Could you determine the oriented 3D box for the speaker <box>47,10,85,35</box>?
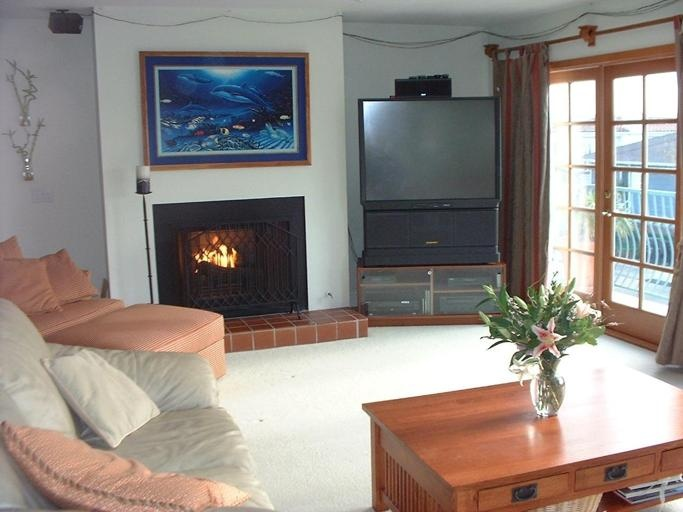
[{"bbox_3d":[-2.324,-1.970,4.622,0.254,0.189,0.086,4,38,-20],"label":"speaker"}]

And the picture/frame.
[{"bbox_3d":[-1.097,-1.325,4.822,1.218,0.849,0.042,-1,12,-9],"label":"picture/frame"}]

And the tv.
[{"bbox_3d":[0.811,-1.005,5.441,1.832,1.246,0.922,-1,9,0],"label":"tv"}]
